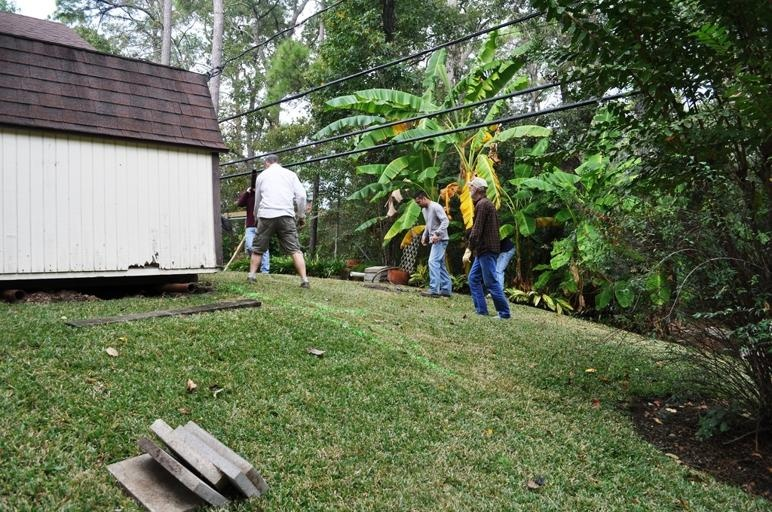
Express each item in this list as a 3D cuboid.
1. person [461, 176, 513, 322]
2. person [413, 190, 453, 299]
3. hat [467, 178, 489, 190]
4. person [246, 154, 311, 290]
[{"bbox_3d":[1.802,-0.149,9.427,0.682,2.470,0.572,0,4,9],"label":"person"},{"bbox_3d":[1.042,-0.238,11.373,0.694,2.213,0.867,0,4,6],"label":"person"},{"bbox_3d":[1.649,-1.235,9.488,0.308,0.252,0.121,10,-13,-2],"label":"hat"},{"bbox_3d":[-1.919,-0.642,9.493,1.035,2.423,0.696,0,-9,-7],"label":"person"}]
